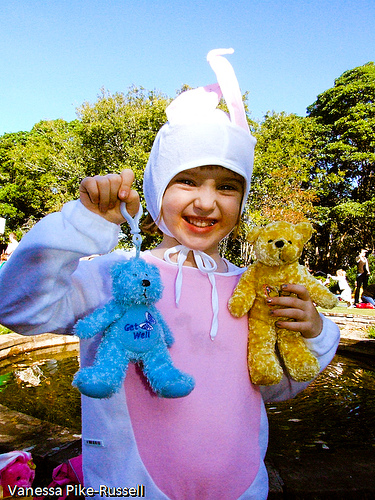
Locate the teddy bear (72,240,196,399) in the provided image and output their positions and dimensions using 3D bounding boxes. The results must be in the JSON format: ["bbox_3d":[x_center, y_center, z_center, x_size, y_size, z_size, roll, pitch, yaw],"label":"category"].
[{"bbox_3d":[-0.159,0.201,1.162,0.390,0.401,0.301,3,6,-41],"label":"teddy bear"}]

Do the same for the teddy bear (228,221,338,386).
[{"bbox_3d":[0.366,0.191,1.589,0.509,0.580,0.378,4,13,-2],"label":"teddy bear"}]

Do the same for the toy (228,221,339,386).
[{"bbox_3d":[0.347,0.190,1.594,0.490,0.568,0.365,-1,14,-14],"label":"toy"}]

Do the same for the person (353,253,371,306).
[{"bbox_3d":[5.083,0.879,11.921,0.421,1.533,0.738,0,-2,22],"label":"person"}]

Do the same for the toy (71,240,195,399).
[{"bbox_3d":[-0.160,0.198,1.166,0.384,0.404,0.295,2,6,-41],"label":"toy"}]
